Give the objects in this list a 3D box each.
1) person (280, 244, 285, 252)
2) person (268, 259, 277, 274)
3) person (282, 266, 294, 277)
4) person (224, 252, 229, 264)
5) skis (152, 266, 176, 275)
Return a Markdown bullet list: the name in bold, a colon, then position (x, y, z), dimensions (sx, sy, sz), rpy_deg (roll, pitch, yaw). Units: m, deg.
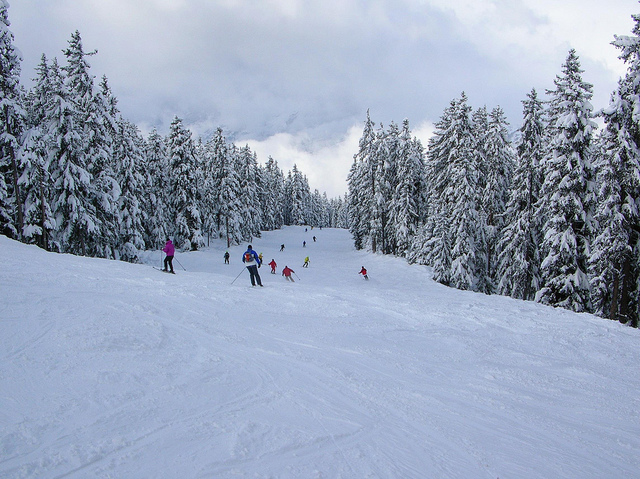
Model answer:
- **person**: position (-4.492, 0.998, 65.672), dimensions (0.576, 1.300, 0.536), rpy_deg (6, 8, 33)
- **person**: position (-3.896, 2.226, 45.419), dimensions (0.843, 0.577, 1.539), rpy_deg (3, -28, -3)
- **person**: position (-2.255, 2.239, 38.369), dimensions (0.510, 0.935, 1.463), rpy_deg (2, 11, -9)
- **person**: position (-7.886, 1.562, 47.328), dimensions (0.374, 1.280, 1.403), rpy_deg (1, 11, -12)
- **skis**: position (-8.130, 1.626, 29.039), dimensions (0.926, 0.144, 0.108), rpy_deg (28, 16, -4)
